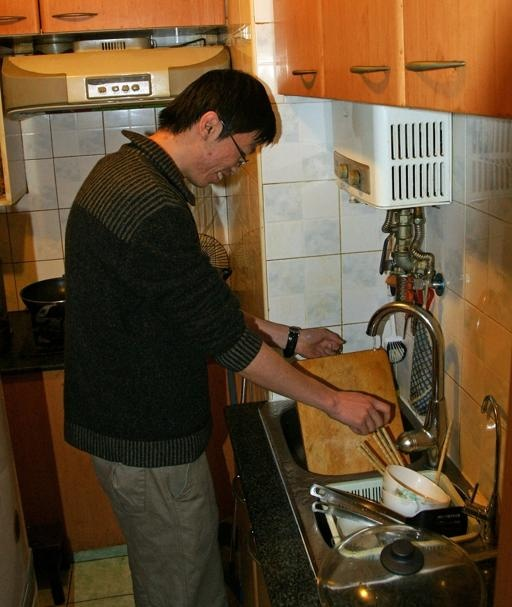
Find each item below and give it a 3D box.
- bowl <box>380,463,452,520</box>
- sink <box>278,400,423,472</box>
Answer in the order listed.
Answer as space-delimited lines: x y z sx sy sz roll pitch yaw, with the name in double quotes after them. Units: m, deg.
0.291 0.355 1.026 0.107 0.063 0.099 27 2 -1 "bowl"
0.259 0.392 1.521 0.380 0.137 0.377 -5 18 -6 "sink"
